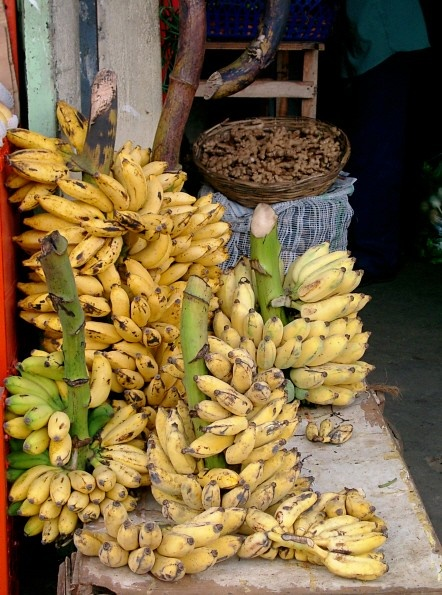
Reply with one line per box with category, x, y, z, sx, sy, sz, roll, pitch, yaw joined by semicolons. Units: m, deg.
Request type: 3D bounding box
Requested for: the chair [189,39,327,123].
chair;0.219;-1.423;4.028;0.772;0.619;0.672;-2;38;-3
